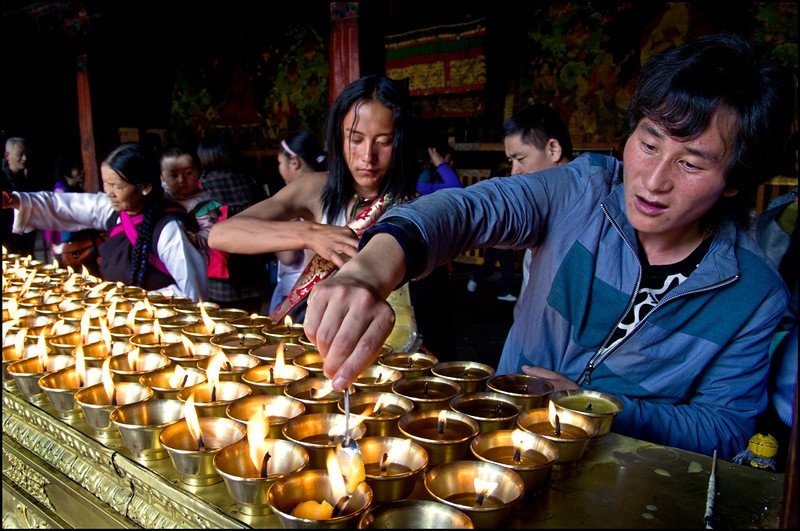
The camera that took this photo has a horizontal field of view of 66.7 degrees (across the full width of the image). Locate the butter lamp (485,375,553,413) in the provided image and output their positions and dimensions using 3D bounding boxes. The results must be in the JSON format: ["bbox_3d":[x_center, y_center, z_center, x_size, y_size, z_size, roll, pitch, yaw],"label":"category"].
[{"bbox_3d":[0.435,0.470,2.203,0.196,0.076,0.200,5,15,30],"label":"butter lamp"}]

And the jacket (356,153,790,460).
[{"bbox_3d":[0.813,0.276,2.841,1.432,1.484,1.287,-14,47,-26],"label":"jacket"}]

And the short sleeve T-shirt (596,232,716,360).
[{"bbox_3d":[1.162,0.129,2.662,0.193,0.477,0.374,23,11,-36],"label":"short sleeve T-shirt"}]

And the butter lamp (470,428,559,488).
[{"bbox_3d":[0.364,0.614,1.913,0.254,0.118,0.245,-4,12,-27],"label":"butter lamp"}]

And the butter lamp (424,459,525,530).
[{"bbox_3d":[0.214,0.681,1.805,0.296,0.151,0.171,4,8,8],"label":"butter lamp"}]

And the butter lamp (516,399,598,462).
[{"bbox_3d":[0.519,0.554,2.009,0.252,0.173,0.247,1,10,2],"label":"butter lamp"}]
